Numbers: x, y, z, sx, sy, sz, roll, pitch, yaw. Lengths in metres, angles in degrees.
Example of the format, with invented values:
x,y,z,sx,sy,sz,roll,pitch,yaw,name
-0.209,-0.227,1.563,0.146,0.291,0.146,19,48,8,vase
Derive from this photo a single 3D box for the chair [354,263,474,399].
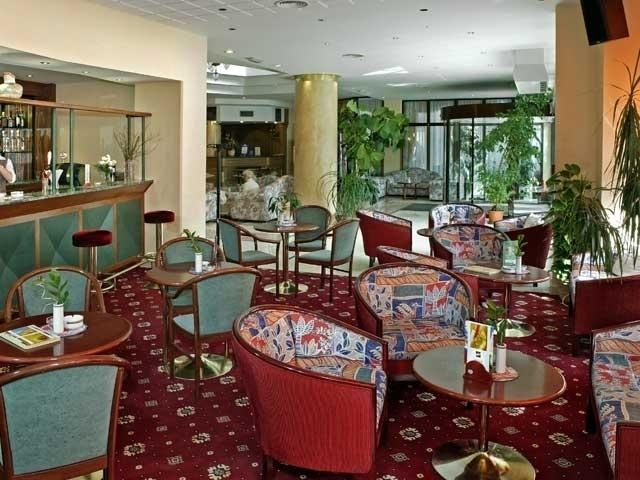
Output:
x,y,z,sx,sy,sz,roll,pitch,yaw,name
0.896,0.731,4.495,1.082,0.925,0.858,7,-20,27,chair

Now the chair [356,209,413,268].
x,y,z,sx,sy,sz,roll,pitch,yaw,name
1.123,-0.057,8.167,1.026,0.880,0.988,9,16,40,chair

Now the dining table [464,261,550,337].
x,y,z,sx,sy,sz,roll,pitch,yaw,name
2.060,0.712,5.474,0.864,0.551,0.807,0,-5,-3,dining table

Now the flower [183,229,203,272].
x,y,z,sx,sy,sz,roll,pitch,yaw,name
-1.279,0.098,4.793,0.255,0.407,0.225,0,8,-21,flower

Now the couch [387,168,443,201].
x,y,z,sx,sy,sz,roll,pitch,yaw,name
3.604,-2.172,18.805,2.341,1.018,1.099,9,20,27,couch

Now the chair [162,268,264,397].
x,y,z,sx,sy,sz,roll,pitch,yaw,name
-0.977,0.701,4.395,0.836,0.958,0.766,-1,6,-29,chair

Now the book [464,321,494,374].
x,y,z,sx,sy,sz,roll,pitch,yaw,name
0.987,0.673,3.088,0.205,0.308,0.130,6,12,35,book

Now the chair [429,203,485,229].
x,y,z,sx,sy,sz,roll,pitch,yaw,name
2.394,-0.441,8.662,0.659,0.376,0.707,-8,15,-25,chair

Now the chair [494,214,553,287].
x,y,z,sx,sy,sz,roll,pitch,yaw,name
2.962,-0.011,7.186,0.703,0.692,0.688,-9,15,-5,chair

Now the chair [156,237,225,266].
x,y,z,sx,sy,sz,roll,pitch,yaw,name
-1.414,0.131,5.234,0.480,0.470,0.387,-1,3,-23,chair

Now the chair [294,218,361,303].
x,y,z,sx,sy,sz,roll,pitch,yaw,name
0.122,0.199,6.912,0.775,0.962,0.806,4,7,33,chair

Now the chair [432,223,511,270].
x,y,z,sx,sy,sz,roll,pitch,yaw,name
1.905,0.055,6.441,0.802,0.740,0.695,-3,6,-11,chair

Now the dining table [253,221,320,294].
x,y,z,sx,sy,sz,roll,pitch,yaw,name
-0.518,0.280,7.250,0.952,0.890,0.957,5,6,41,dining table

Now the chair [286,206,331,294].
x,y,z,sx,sy,sz,roll,pitch,yaw,name
-0.197,-0.043,7.896,0.796,0.992,0.685,4,8,4,chair

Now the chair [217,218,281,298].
x,y,z,sx,sy,sz,roll,pitch,yaw,name
-0.984,0.216,6.804,0.891,0.956,0.839,6,6,34,chair

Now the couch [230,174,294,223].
x,y,z,sx,sy,sz,roll,pitch,yaw,name
-1.646,-1.198,13.531,1.434,1.096,1.416,7,12,35,couch

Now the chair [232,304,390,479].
x,y,z,sx,sy,sz,roll,pitch,yaw,name
-0.064,0.940,3.369,1.222,1.085,1.140,0,11,6,chair

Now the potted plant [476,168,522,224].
x,y,z,sx,sy,sz,roll,pitch,yaw,name
4.360,-1.122,12.386,1.117,1.362,1.207,-2,-5,-25,potted plant
